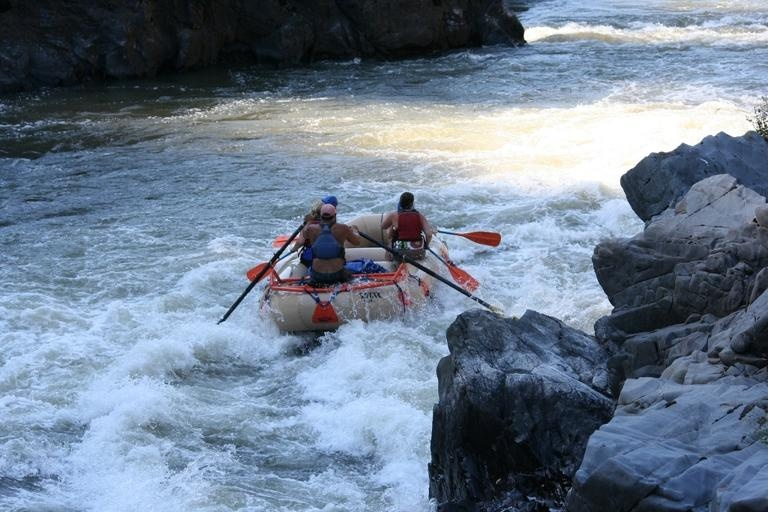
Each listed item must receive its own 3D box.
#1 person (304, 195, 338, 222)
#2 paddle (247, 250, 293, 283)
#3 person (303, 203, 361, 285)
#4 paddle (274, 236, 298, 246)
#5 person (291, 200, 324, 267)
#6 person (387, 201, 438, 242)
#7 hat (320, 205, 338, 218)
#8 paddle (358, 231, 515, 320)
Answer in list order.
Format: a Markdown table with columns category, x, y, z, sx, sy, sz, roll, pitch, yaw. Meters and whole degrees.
| category | x | y | z | sx | sy | sz | roll | pitch | yaw |
| --- | --- | --- | --- | --- | --- | --- | --- | --- | --- |
| person | -1.374 | -1.033 | 23.052 | 0.509 | 0.469 | 1.523 | 18 | 0 | -4 |
| paddle | -2.527 | 0.191 | 22.744 | 1.333 | 0.384 | 0.168 | -32 | -25 | -8 |
| person | -1.146 | -0.251 | 21.835 | 1.128 | 1.676 | 0.522 | -7 | 16 | -4 |
| paddle | -2.178 | -0.320 | 23.282 | 0.501 | 0.250 | 0.127 | -13 | -35 | 33 |
| person | -1.431 | -0.463 | 22.343 | 0.329 | 1.268 | 0.767 | 33 | -12 | -21 |
| person | 0.681 | -0.735 | 23.444 | 0.885 | 1.110 | 0.640 | 7 | 47 | 2 |
| hat | -1.126 | -0.960 | 21.790 | 0.249 | 0.279 | 0.306 | 3 | -17 | 13 |
| paddle | 1.083 | 0.497 | 22.583 | 3.580 | 0.393 | 0.219 | 28 | -31 | 7 |
